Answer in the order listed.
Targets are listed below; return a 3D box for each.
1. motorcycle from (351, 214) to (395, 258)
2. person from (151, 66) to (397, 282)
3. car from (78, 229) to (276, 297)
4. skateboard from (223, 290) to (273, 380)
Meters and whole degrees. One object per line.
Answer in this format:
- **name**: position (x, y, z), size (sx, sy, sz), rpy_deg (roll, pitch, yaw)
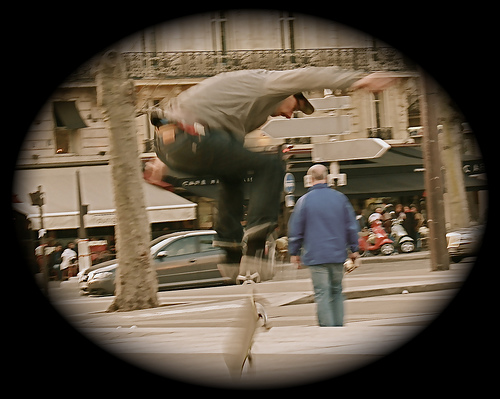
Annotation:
- **motorcycle**: position (1.598, 0.501, 13.465), size (0.349, 0.436, 0.759), rpy_deg (-2, -7, -22)
- **person**: position (-0.031, -0.165, 6.911), size (1.228, 1.415, 0.388), rpy_deg (-1, 4, -4)
- **car**: position (-0.751, 0.614, 10.341), size (2.121, 0.517, 0.768), rpy_deg (-1, -2, 0)
- **skateboard**: position (0.058, 0.868, 6.835), size (0.174, 0.665, 0.264), rpy_deg (-11, -40, 37)
